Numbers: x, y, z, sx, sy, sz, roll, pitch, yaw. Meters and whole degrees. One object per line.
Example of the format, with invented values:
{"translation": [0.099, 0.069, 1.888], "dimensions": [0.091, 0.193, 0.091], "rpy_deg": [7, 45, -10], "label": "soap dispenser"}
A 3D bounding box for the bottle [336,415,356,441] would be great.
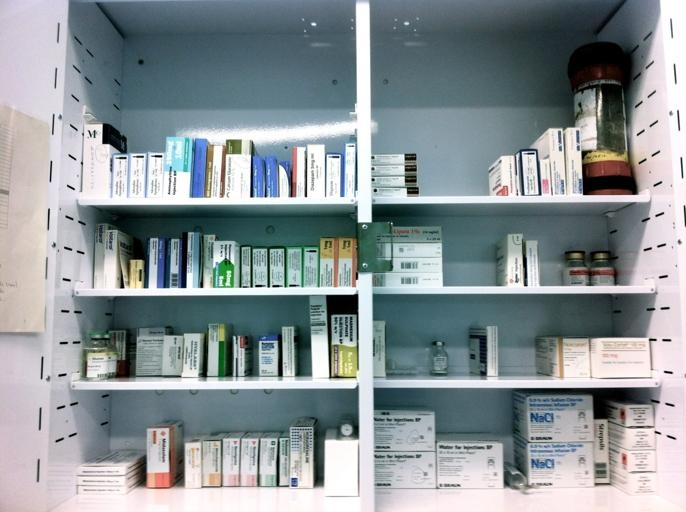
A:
{"translation": [0.017, 0.864, 3.323], "dimensions": [0.088, 0.140, 0.073], "rpy_deg": [1, -10, -3], "label": "bottle"}

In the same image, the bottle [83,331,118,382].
{"translation": [-1.226, 0.502, 3.345], "dimensions": [0.150, 0.236, 0.177], "rpy_deg": [-7, -9, 40], "label": "bottle"}

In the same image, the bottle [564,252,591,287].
{"translation": [1.232, 0.059, 3.495], "dimensions": [0.148, 0.184, 0.120], "rpy_deg": [-6, -9, 36], "label": "bottle"}

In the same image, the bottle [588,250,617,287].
{"translation": [1.353, 0.059, 3.432], "dimensions": [0.117, 0.182, 0.121], "rpy_deg": [-1, -7, 0], "label": "bottle"}

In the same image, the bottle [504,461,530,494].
{"translation": [0.874, 1.124, 3.350], "dimensions": [0.092, 0.108, 0.185], "rpy_deg": [3, -8, -31], "label": "bottle"}
